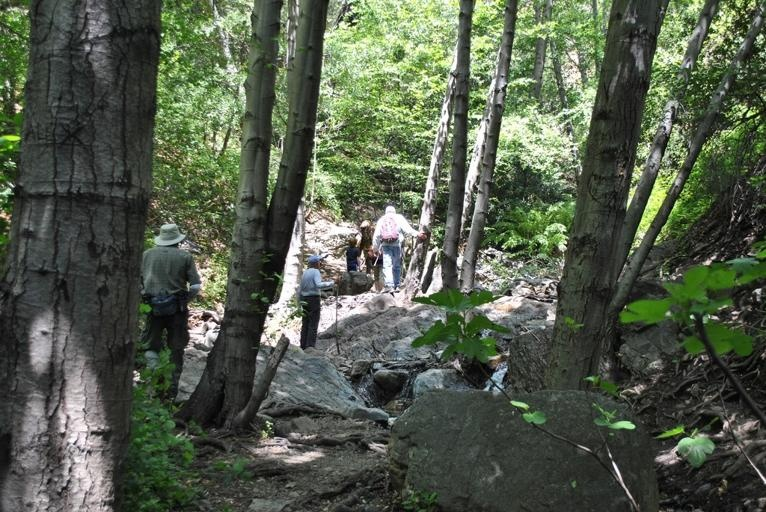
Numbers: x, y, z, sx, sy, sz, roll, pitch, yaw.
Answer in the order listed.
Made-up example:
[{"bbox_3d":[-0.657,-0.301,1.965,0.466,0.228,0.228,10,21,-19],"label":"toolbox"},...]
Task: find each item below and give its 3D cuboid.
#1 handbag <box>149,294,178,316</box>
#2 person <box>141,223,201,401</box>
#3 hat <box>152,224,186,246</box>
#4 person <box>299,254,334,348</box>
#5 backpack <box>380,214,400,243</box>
[{"bbox_3d":[-2.579,0.560,6.972,0.261,0.235,0.101,-3,2,-22],"label":"handbag"},{"bbox_3d":[-2.560,0.581,7.083,0.667,1.870,0.855,7,7,-15],"label":"person"},{"bbox_3d":[-2.582,-0.265,7.318,0.301,0.175,0.335,4,28,5],"label":"hat"},{"bbox_3d":[-1.197,0.806,10.163,0.492,1.631,0.931,8,7,-7],"label":"person"},{"bbox_3d":[0.155,-0.624,13.507,0.631,0.719,0.402,-2,-6,3],"label":"backpack"}]
